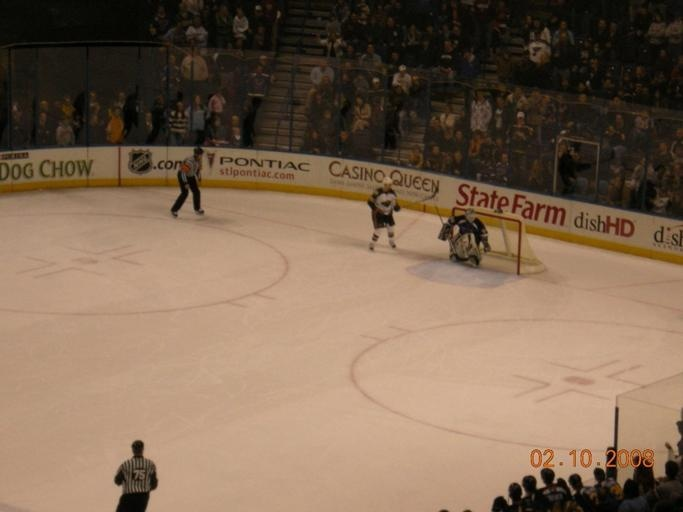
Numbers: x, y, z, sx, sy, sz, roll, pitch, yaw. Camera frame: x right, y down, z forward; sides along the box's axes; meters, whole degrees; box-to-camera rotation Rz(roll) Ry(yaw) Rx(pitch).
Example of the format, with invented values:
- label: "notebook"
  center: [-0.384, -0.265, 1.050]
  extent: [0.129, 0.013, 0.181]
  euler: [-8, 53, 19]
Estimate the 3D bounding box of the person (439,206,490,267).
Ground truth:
- label: "person"
  center: [3.291, -0.447, 23.168]
  extent: [1.024, 1.053, 1.717]
  euler: [-3, 10, -5]
